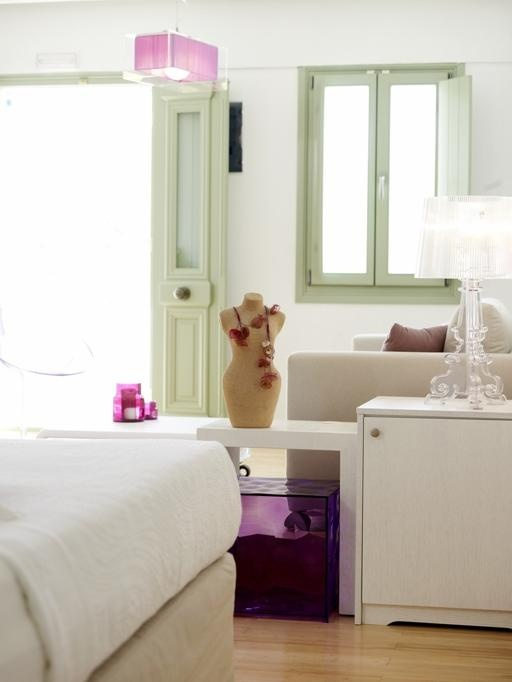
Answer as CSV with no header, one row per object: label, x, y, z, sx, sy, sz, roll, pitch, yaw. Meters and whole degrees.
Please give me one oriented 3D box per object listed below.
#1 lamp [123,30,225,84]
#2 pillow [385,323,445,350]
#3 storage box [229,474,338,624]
lamp,-0.356,-1.185,2.943,0.376,0.195,0.204,3,7,25
pillow,0.580,-0.002,2.576,0.132,0.055,0.142,0,24,25
storage box,0.098,0.596,2.080,0.300,0.334,0.322,-1,-5,9
